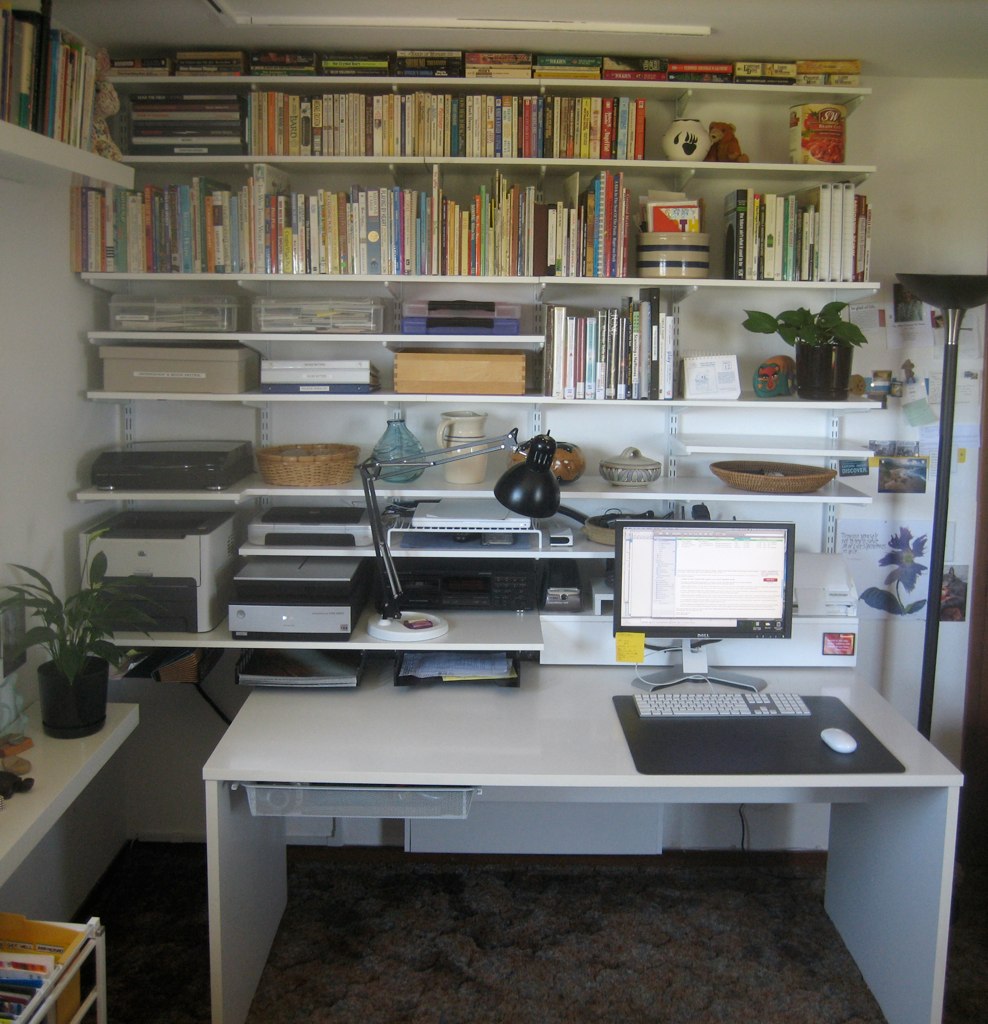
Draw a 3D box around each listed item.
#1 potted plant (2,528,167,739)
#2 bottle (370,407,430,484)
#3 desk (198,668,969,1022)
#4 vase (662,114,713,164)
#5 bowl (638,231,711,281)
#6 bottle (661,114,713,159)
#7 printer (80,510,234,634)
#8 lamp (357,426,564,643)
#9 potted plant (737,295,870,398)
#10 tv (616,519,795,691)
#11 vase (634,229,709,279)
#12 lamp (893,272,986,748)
[{"bbox_3d":[-0.928,0.284,2.255,0.449,0.425,0.398,2,1,0],"label":"potted plant"},{"bbox_3d":[-0.262,-0.181,2.628,0.217,0.251,0.200,-1,7,0],"label":"bottle"},{"bbox_3d":[0.188,0.840,2.349,1.626,0.703,0.654,0,14,-1],"label":"desk"},{"bbox_3d":[0.516,-0.990,2.606,0.140,0.130,0.126,-1,11,-20],"label":"vase"},{"bbox_3d":[0.468,-0.679,2.547,0.151,0.078,0.140,0,5,0],"label":"bowl"},{"bbox_3d":[0.525,-0.992,2.601,0.133,0.124,0.121,-2,10,-27],"label":"bottle"},{"bbox_3d":[-0.914,0.154,2.602,0.342,0.238,0.336,0,4,-1],"label":"printer"},{"bbox_3d":[-0.090,0.039,2.565,0.493,0.553,0.429,1,14,0],"label":"lamp"},{"bbox_3d":[0.832,-0.450,2.686,0.308,0.195,0.294,-1,6,-3],"label":"potted plant"},{"bbox_3d":[0.539,0.231,2.504,0.506,0.411,0.192,0,5,1],"label":"tv"},{"bbox_3d":[0.474,-0.677,2.547,0.151,0.078,0.140,0,5,0],"label":"vase"},{"bbox_3d":[1.202,0.004,2.750,0.251,1.333,0.558,6,15,21],"label":"lamp"}]
